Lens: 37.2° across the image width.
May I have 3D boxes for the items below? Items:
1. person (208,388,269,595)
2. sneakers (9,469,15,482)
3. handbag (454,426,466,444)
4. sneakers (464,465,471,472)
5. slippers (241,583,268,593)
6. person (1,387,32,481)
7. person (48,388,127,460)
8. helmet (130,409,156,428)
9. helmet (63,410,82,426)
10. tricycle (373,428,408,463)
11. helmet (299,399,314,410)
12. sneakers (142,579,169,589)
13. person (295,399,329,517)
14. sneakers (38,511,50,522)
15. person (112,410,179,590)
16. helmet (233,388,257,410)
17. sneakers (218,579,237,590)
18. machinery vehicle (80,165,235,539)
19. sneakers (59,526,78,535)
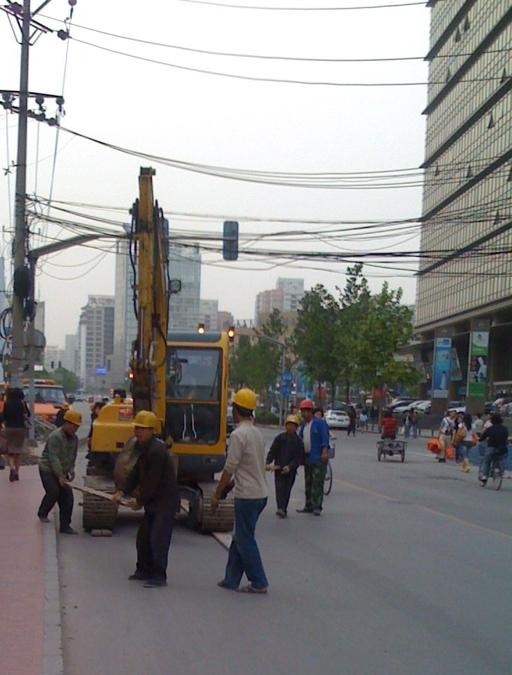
[{"bbox_3d":[-0.128,1.374,6.838,0.533,1.826,0.568,2,-2,0],"label":"person"},{"bbox_3d":[-4.927,2.759,15.257,0.079,0.289,0.176,1,1,-2],"label":"sneakers"},{"bbox_3d":[7.087,3.399,26.402,0.249,0.545,0.367,23,14,-5],"label":"handbag"},{"bbox_3d":[6.695,4.145,24.020,0.152,0.206,0.458,2,4,7],"label":"sneakers"},{"bbox_3d":[-0.009,2.207,6.691,0.267,0.083,0.189,4,-3,-13],"label":"slippers"},{"bbox_3d":[-5.053,1.983,15.769,0.510,1.385,1.432,3,-3,-18],"label":"person"},{"bbox_3d":[-2.411,1.386,10.774,1.375,1.048,0.819,0,2,-7],"label":"person"},{"bbox_3d":[-0.998,0.746,6.917,0.132,0.114,0.201,6,-7,14],"label":"helmet"},{"bbox_3d":[-2.412,1.046,9.830,0.240,0.157,0.200,26,9,9],"label":"helmet"},{"bbox_3d":[4.898,3.927,27.606,0.873,0.803,1.367,1,-3,2],"label":"tricycle"},{"bbox_3d":[0.834,1.092,12.344,0.223,0.152,0.178,21,-8,-12],"label":"helmet"},{"bbox_3d":[-0.901,2.190,6.781,0.204,0.074,0.146,4,-3,-11],"label":"sneakers"},{"bbox_3d":[0.943,1.989,12.699,0.595,1.915,0.665,1,0,-41],"label":"person"},{"bbox_3d":[-2.833,2.387,10.135,0.229,0.186,0.086,-2,-4,36],"label":"sneakers"},{"bbox_3d":[-0.987,1.472,6.923,0.518,1.578,0.365,1,-2,37],"label":"person"},{"bbox_3d":[-0.097,0.553,6.869,0.157,0.127,0.211,11,12,-17],"label":"helmet"},{"bbox_3d":[-0.269,2.235,6.875,0.062,0.092,0.204,3,-12,-39],"label":"sneakers"},{"bbox_3d":[-1.163,0.918,10.586,1.875,4.212,5.236,0,-20,-3],"label":"machinery vehicle"},{"bbox_3d":[-2.525,2.579,10.140,0.281,0.140,0.096,2,2,3],"label":"sneakers"}]
